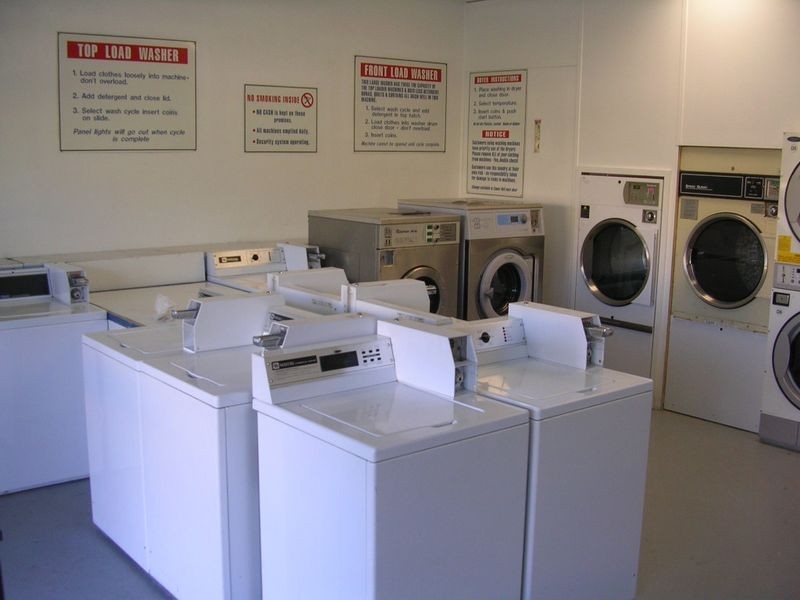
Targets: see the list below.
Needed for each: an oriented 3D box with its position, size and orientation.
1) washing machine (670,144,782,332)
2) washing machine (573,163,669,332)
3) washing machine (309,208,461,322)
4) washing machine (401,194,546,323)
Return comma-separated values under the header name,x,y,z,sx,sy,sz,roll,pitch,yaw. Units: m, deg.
name,x,y,z,sx,sy,sz,roll,pitch,yaw
washing machine,2.411,-0.489,4.325,0.715,1.336,0.680,13,29,43
washing machine,1.856,-0.306,4.879,0.754,1.405,0.849,-6,11,-32
washing machine,-0.026,-0.179,4.770,0.908,1.168,0.910,-13,24,-41
washing machine,0.549,-0.433,5.002,0.898,1.377,1.015,-11,16,-43
